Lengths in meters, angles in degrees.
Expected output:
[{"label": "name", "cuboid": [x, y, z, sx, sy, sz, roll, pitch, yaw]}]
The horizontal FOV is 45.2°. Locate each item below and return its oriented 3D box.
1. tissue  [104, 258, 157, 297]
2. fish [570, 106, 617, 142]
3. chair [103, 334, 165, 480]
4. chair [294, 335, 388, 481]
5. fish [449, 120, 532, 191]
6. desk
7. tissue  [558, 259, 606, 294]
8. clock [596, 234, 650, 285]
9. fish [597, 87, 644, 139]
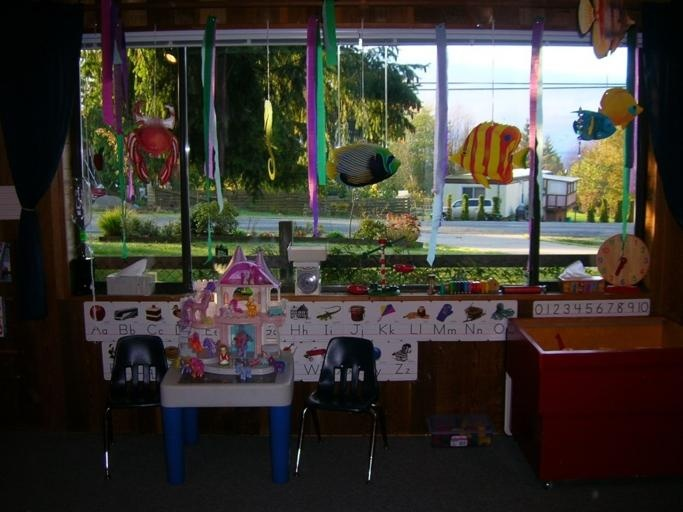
[{"label": "tissue ", "cuboid": [-1.719, 0.213, 6.697, 0.254, 0.316, 0.314, 1, 2, -7]}, {"label": "fish", "cuboid": [1.841, -0.949, 5.979, 0.238, 0.276, 0.210, 2, 2, 5]}, {"label": "chair", "cuboid": [-1.577, 1.145, 6.323, 0.474, 0.983, 0.402, -2, 7, -12]}, {"label": "chair", "cuboid": [0.002, 1.147, 6.413, 0.718, 0.968, 0.679, 0, 8, 4]}, {"label": "fish", "cuboid": [1.128, -0.743, 6.124, 0.415, 0.465, 0.069, 5, 2, 12]}, {"label": "desk", "cuboid": [-0.888, 1.253, 6.538, 0.954, 0.910, 1.135, 1, 13, 1]}, {"label": "tissue ", "cuboid": [1.937, 0.191, 6.763, 0.223, 0.185, 0.252, 0, 9, -1]}, {"label": "clock", "cuboid": [2.276, 0.037, 6.632, 0.298, 0.405, 0.046, 0, 6, 6]}, {"label": "fish", "cuboid": [2.051, -1.100, 6.053, 0.145, 0.410, 0.540, -6, 12, -42]}]
